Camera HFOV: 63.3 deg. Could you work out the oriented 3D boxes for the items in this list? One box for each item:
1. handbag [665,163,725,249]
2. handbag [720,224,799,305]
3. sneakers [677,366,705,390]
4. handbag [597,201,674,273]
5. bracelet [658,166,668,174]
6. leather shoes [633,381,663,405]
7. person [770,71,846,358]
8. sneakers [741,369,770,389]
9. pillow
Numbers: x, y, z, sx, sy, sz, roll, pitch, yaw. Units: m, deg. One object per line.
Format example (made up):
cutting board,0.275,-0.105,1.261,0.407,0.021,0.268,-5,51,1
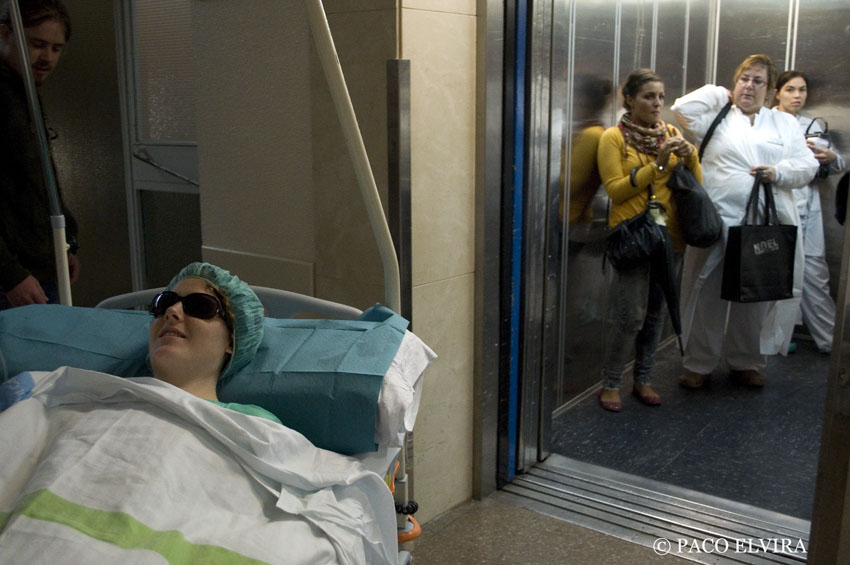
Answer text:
handbag,1.360,-0.393,3.439,0.173,0.396,0.388,-27,-14,28
handbag,1.634,-0.092,3.334,0.338,0.497,0.174,-2,8,-1
sneakers,1.441,0.513,3.729,0.139,0.096,0.079,-7,14,-44
handbag,1.111,-0.214,3.575,0.337,0.191,0.337,-10,29,41
bracelet,1.183,-0.557,3.432,0.029,0.030,0.007,11,27,-17
leather shoes,1.214,0.587,3.716,0.078,0.076,0.179,-18,17,-20
person,1.864,-0.362,3.326,0.384,1.256,0.224,-5,18,-12
sneakers,1.741,0.500,3.656,0.068,0.126,0.128,-20,14,-40
pillow,-0.631,0.268,2.231,0.862,0.348,0.668,6,11,25
